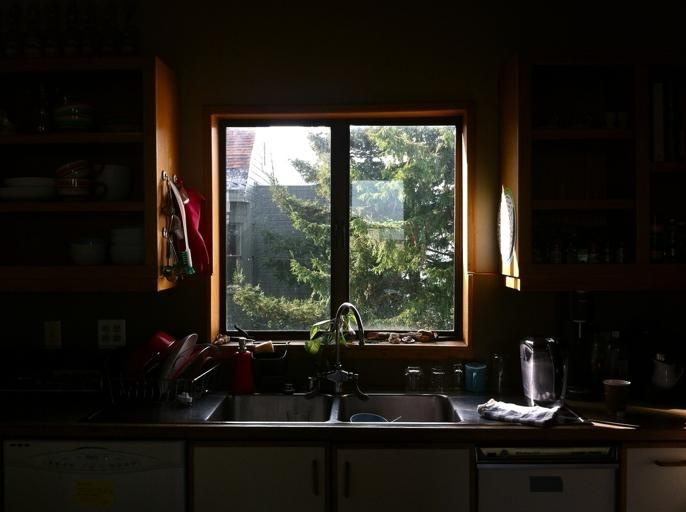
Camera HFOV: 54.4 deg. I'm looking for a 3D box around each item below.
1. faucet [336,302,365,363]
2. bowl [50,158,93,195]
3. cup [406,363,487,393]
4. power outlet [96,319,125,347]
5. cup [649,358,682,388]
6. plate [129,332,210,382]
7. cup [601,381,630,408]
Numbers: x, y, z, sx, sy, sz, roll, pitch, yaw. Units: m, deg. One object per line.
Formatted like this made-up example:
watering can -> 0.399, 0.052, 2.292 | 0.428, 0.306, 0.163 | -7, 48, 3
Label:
faucet -> 0.033, 0.420, 3.630 | 0.169, 0.245, 0.436 | 1, 0, -1
bowl -> -1.387, -0.394, 3.413 | 0.170, 0.131, 0.172 | -1, -8, 0
cup -> 0.564, 0.659, 3.630 | 0.458, 0.101, 0.125 | 1, 0, 2
power outlet -> -1.290, 0.424, 3.695 | 0.146, 0.153, 0.015 | 0, 0, -4
cup -> 1.636, 0.597, 3.374 | 0.118, 0.124, 0.149 | -1, -7, 27
plate -> -0.919, 0.515, 3.458 | 0.392, 0.217, 0.165 | 1, -1, -15
cup -> 1.349, 0.679, 3.283 | 0.115, 0.102, 0.124 | 1, -6, 0
